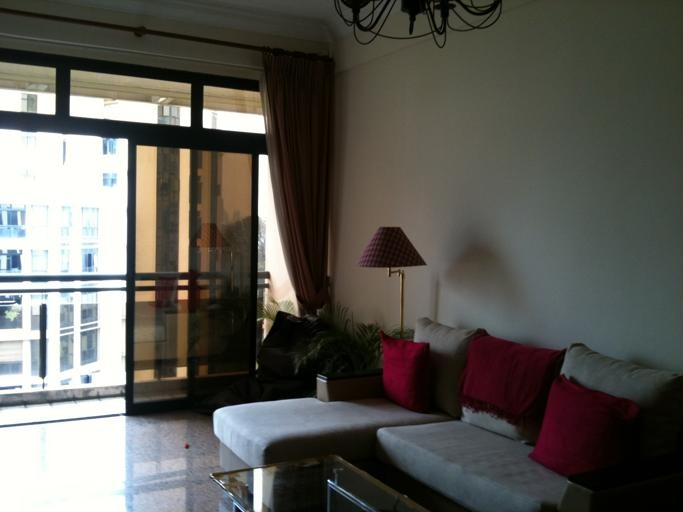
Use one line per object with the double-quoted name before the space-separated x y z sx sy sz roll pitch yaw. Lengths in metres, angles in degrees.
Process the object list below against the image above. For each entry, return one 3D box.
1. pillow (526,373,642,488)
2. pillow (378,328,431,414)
"pillow" 1.226 0.915 2.977 0.279 0.425 0.507 2 1 -33
"pillow" 0.456 0.833 4.045 0.171 0.480 0.493 -3 4 -31
